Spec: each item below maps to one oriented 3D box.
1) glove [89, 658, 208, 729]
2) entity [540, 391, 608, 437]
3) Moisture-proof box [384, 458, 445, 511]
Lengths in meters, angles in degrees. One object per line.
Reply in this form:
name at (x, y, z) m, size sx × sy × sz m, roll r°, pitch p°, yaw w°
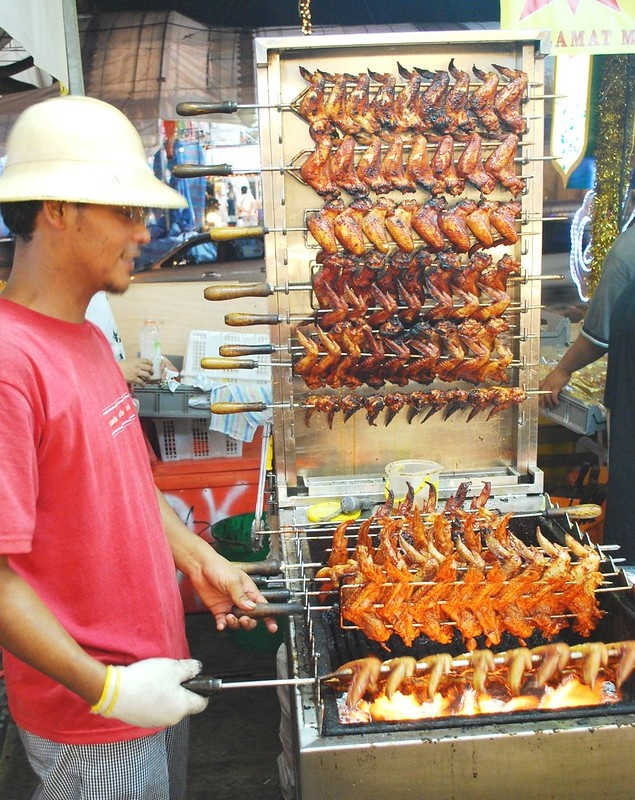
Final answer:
glove at (-0.357, 0.618, 1.707) m, size 0.276 × 0.143 × 0.087 m, roll 18°, pitch -44°, yaw -42°
entity at (1.253, 0.066, 3.815) m, size 0.208 × 0.086 × 0.286 m, roll -1°, pitch 9°, yaw -19°
Moisture-proof box at (0.350, 0.297, 2.793) m, size 0.199 × 0.147 × 0.160 m, roll -1°, pitch 8°, yaw 11°
